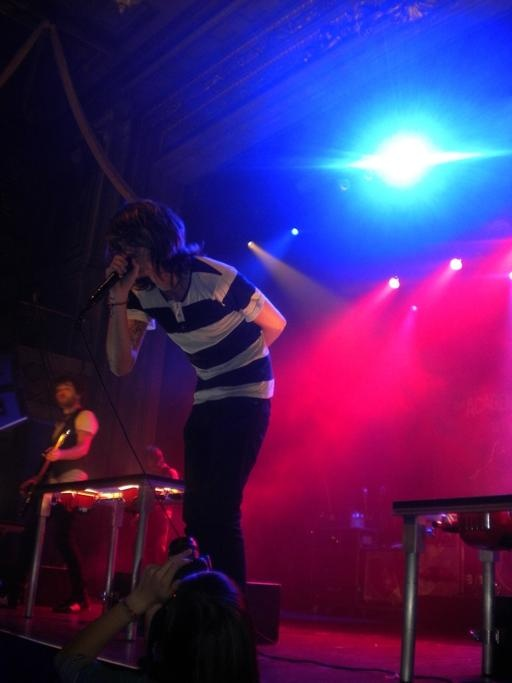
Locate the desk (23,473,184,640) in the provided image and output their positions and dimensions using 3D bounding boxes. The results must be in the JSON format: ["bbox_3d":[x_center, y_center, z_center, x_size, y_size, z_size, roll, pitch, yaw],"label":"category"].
[{"bbox_3d":[-0.924,1.125,3.293,0.593,0.591,0.478,3,-17,-15],"label":"desk"}]

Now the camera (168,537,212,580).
[{"bbox_3d":[-0.150,0.481,1.328,0.090,0.102,0.069,-20,3,-11],"label":"camera"}]

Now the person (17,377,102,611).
[{"bbox_3d":[-1.388,1.074,4.179,0.471,1.575,0.494,-9,-19,17],"label":"person"}]

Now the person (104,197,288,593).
[{"bbox_3d":[-0.238,0.152,1.988,0.623,1.206,0.400,3,-15,6],"label":"person"}]

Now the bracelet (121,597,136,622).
[{"bbox_3d":[-0.273,0.576,1.270,0.013,0.050,0.049,-15,-10,-24],"label":"bracelet"}]
